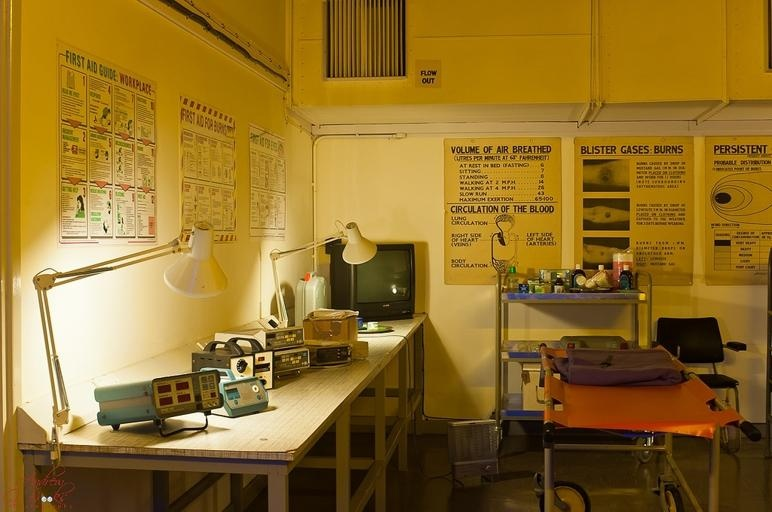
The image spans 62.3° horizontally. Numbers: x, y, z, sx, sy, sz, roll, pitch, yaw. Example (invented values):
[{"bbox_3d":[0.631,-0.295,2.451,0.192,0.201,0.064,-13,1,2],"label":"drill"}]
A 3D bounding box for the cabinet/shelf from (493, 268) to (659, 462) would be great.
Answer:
[{"bbox_3d":[1.434,0.748,5.006,1.216,1.215,0.795,-2,-4,6],"label":"cabinet/shelf"}]

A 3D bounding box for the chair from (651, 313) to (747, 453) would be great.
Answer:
[{"bbox_3d":[2.329,0.937,4.822,0.690,0.907,0.674,-3,-2,-9],"label":"chair"}]

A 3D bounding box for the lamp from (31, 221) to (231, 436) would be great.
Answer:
[{"bbox_3d":[-1.128,0.294,2.847,0.742,0.886,0.492,-5,1,-27],"label":"lamp"}]

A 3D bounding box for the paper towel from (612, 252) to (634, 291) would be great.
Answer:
[{"bbox_3d":[1.865,0.119,5.032,0.172,0.286,0.177,-2,0,41],"label":"paper towel"}]

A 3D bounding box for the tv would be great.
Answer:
[{"bbox_3d":[-0.068,0.216,5.135,0.830,0.690,0.571,1,-3,-33],"label":"tv"}]
